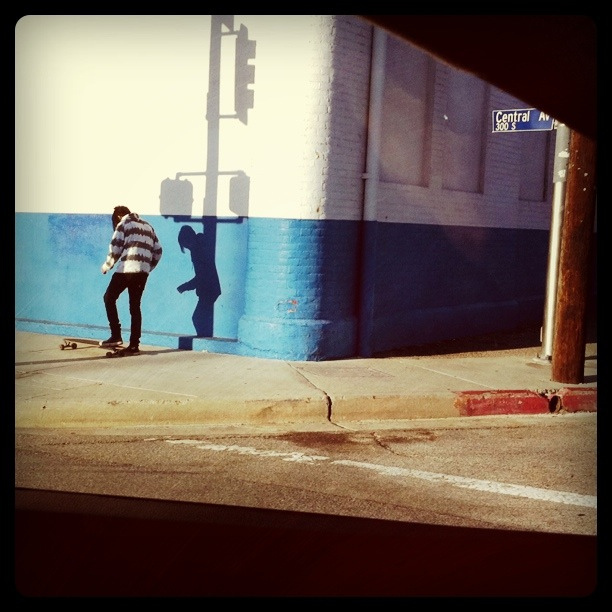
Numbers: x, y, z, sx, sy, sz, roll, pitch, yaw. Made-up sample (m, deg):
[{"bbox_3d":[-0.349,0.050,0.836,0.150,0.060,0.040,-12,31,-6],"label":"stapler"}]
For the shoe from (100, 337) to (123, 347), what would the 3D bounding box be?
[{"bbox_3d":[-2.439,0.449,8.848,0.253,0.136,0.114,3,4,1],"label":"shoe"}]

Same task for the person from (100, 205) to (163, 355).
[{"bbox_3d":[-2.269,-0.358,9.215,0.743,1.865,1.054,0,6,-14],"label":"person"}]

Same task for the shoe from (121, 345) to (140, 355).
[{"bbox_3d":[-2.191,0.554,8.830,0.222,0.107,0.080,8,-3,-43],"label":"shoe"}]
